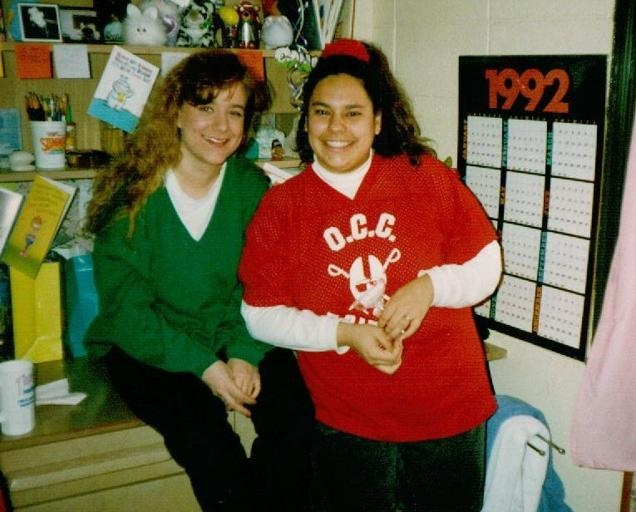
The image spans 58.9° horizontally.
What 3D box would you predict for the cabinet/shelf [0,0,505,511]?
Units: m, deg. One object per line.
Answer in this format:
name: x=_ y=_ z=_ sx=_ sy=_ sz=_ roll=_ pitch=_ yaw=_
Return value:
cabinet/shelf: x=-0.210 y=0.031 z=1.568 sx=1.067 sy=1.445 sz=0.343 roll=-4 pitch=-9 yaw=3
